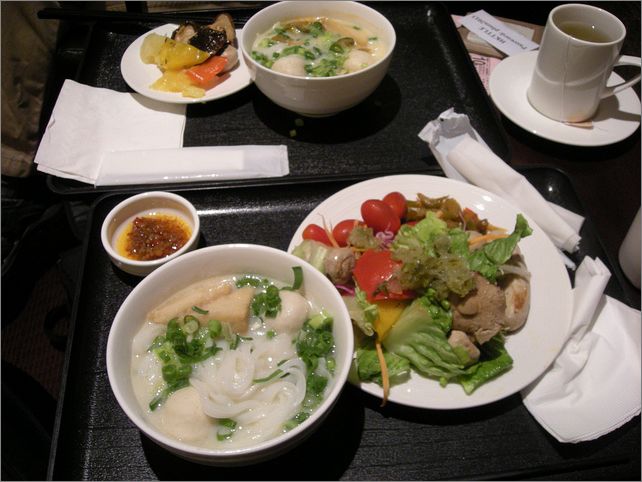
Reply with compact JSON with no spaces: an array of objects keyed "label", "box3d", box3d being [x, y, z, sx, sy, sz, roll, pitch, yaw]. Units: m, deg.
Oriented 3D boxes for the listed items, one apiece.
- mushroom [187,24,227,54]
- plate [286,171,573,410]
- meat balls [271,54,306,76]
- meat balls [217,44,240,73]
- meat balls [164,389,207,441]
[{"label":"mushroom","box3d":[-0.598,-1.059,2.586,0.175,0.059,0.172,37,73,16]},{"label":"plate","box3d":[0.410,0.212,1.846,0.526,0.236,0.724,-28,72,-11]},{"label":"meat balls","box3d":[-0.165,-0.876,2.461,0.130,0.075,0.143,4,44,-2]},{"label":"meat balls","box3d":[-0.478,-0.967,2.623,0.119,0.067,0.131,-4,82,25]},{"label":"meat balls","box3d":[-0.425,0.546,1.634,0.137,0.124,0.212,-4,27,-13]}]
